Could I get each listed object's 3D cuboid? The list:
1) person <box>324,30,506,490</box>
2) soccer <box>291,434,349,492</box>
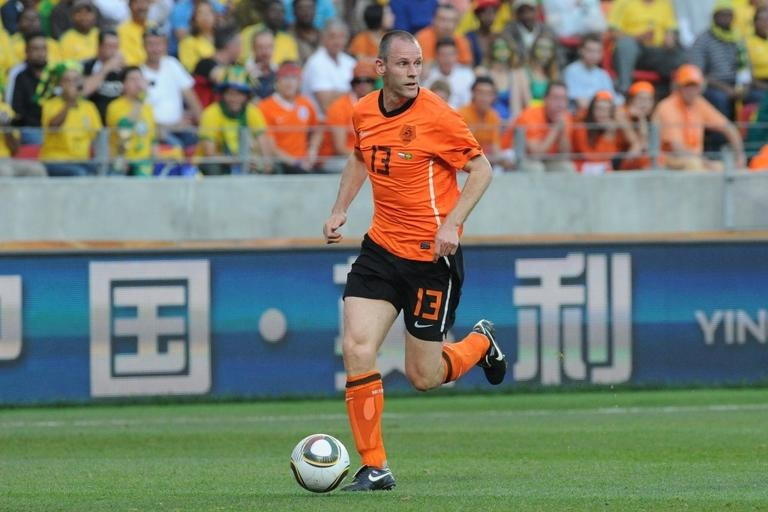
[{"bbox_3d":[0.159,0.042,14.156,1.266,3.815,0.636,-2,-3,-3],"label":"person"},{"bbox_3d":[-0.531,1.728,13.941,0.474,0.476,0.172,-2,-2,-2],"label":"soccer"}]
